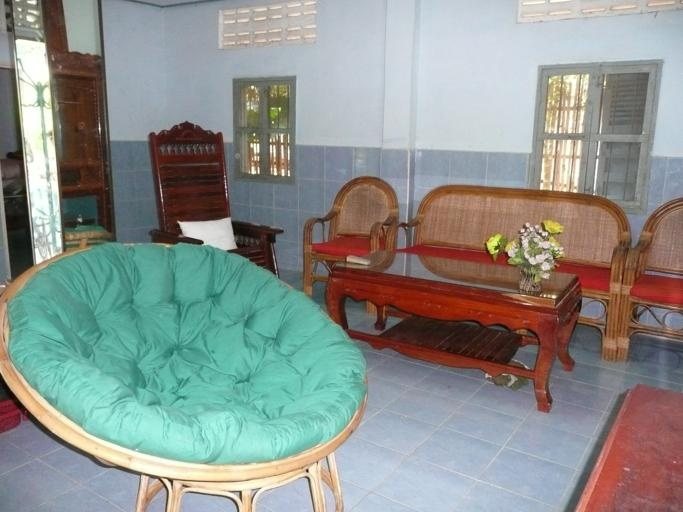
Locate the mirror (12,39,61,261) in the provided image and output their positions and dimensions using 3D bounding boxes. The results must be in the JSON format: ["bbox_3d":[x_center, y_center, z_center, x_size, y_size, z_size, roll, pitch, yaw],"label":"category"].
[{"bbox_3d":[-1.749,-0.576,2.850,0.247,1.251,0.051,-9,20,-27],"label":"mirror"}]

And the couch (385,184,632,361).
[{"bbox_3d":[1.543,0.084,4.344,1.890,1.190,0.674,6,27,6],"label":"couch"}]

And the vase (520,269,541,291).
[{"bbox_3d":[1.234,0.153,3.262,0.140,0.140,0.135,1,7,7],"label":"vase"}]

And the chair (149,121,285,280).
[{"bbox_3d":[-1.565,-0.548,5.235,0.925,1.384,0.876,-9,-2,-27],"label":"chair"}]
